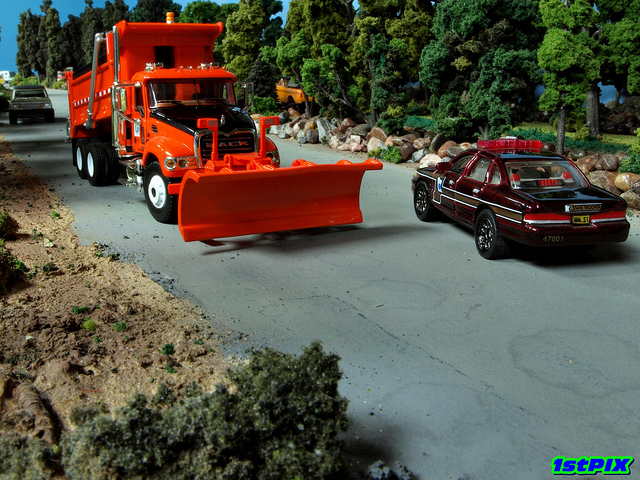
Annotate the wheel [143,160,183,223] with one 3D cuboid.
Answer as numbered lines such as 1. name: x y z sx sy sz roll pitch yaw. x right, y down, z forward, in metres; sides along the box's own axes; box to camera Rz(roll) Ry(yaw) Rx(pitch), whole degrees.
1. wheel: -3.606 -1.133 9.801 0.540 1.458 1.416 -4 9 -34

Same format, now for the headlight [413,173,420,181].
1. headlight: 2.514 -1.640 10.931 0.176 0.144 0.233 -2 -1 -24

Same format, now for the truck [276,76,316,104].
1. truck: -1.555 -11.245 32.096 2.266 1.984 4.030 -9 22 -31

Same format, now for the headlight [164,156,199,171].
1. headlight: -3.152 -1.740 9.604 0.706 0.304 0.165 -7 17 -21

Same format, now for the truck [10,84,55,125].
1. truck: -19.358 -9.153 28.708 2.018 1.835 3.514 -3 7 -21

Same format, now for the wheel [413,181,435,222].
1. wheel: 2.610 -0.958 10.497 0.345 1.056 1.039 1 -2 -14

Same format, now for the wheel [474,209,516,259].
1. wheel: 3.389 -0.110 8.107 0.337 0.898 0.877 -1 7 -16

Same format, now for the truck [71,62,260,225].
1. truck: -3.642 -2.799 11.258 3.394 3.339 6.813 -7 13 -30

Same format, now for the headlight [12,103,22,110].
1. headlight: -19.369 -8.564 27.028 0.632 0.345 0.092 -1 16 0

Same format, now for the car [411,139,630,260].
1. car: 3.763 -1.060 9.269 2.151 1.686 4.552 -4 17 -18

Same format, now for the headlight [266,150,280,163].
1. headlight: -1.179 -2.107 10.711 0.333 0.325 0.235 -1 7 1
